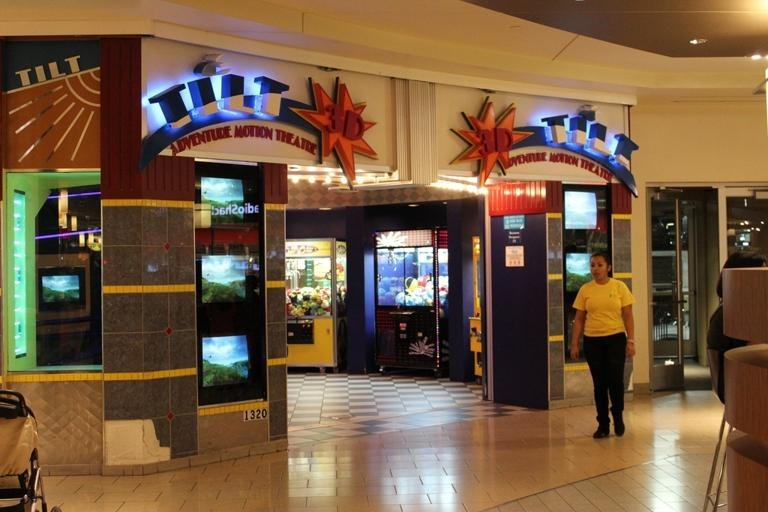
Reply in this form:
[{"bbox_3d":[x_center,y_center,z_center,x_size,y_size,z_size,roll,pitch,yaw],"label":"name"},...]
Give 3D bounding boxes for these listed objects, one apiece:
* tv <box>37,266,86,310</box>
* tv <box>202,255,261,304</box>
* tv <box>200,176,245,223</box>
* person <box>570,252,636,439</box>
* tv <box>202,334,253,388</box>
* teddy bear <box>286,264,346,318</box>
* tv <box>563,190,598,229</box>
[{"bbox_3d":[-3.560,0.343,7.274,0.529,0.454,0.051,0,-3,5],"label":"tv"},{"bbox_3d":[-1.821,0.274,7.637,0.613,0.453,0.040,0,-3,-28],"label":"tv"},{"bbox_3d":[-1.907,-0.646,7.604,0.563,0.522,0.010,-5,1,-33],"label":"tv"},{"bbox_3d":[2.712,1.095,8.167,0.738,2.244,0.434,-1,1,16],"label":"person"},{"bbox_3d":[-1.850,1.218,7.598,0.704,0.641,0.070,-1,-4,-29],"label":"tv"},{"bbox_3d":[-1.307,0.712,12.919,1.152,1.011,0.600,0,-8,6],"label":"teddy bear"},{"bbox_3d":[2.850,-0.672,9.636,0.617,0.570,0.042,0,-4,-19],"label":"tv"}]
